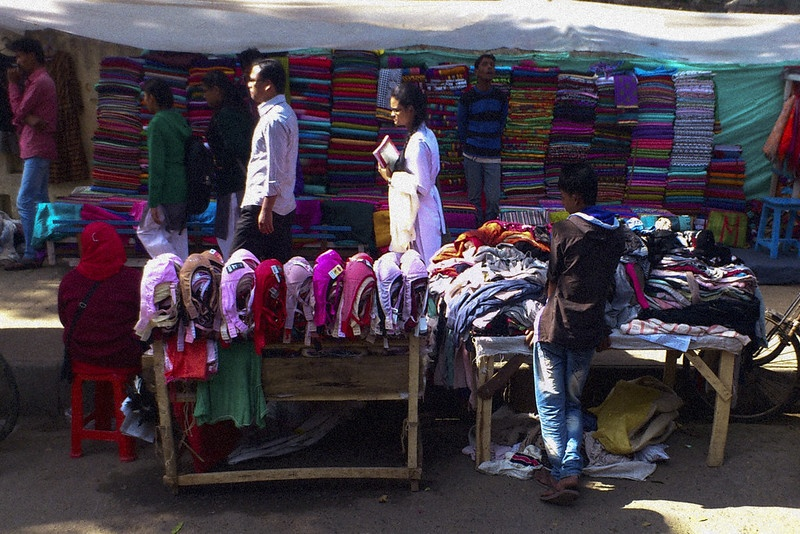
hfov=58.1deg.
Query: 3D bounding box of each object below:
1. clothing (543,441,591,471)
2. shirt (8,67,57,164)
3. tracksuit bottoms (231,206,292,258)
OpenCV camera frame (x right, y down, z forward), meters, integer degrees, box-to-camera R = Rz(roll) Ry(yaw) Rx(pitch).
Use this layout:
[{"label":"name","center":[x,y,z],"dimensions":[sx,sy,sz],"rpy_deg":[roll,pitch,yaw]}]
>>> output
[{"label":"clothing","center":[1.471,1.702,6.412],"dimensions":[0.281,0.118,0.279],"rpy_deg":[-1,6,5]},{"label":"shirt","center":[-4.672,-1.946,9.174],"dimensions":[0.535,1.161,0.382],"rpy_deg":[1,6,25]},{"label":"tracksuit bottoms","center":[-1.318,-0.331,6.989],"dimensions":[0.490,0.643,0.242],"rpy_deg":[2,21,-18]}]
